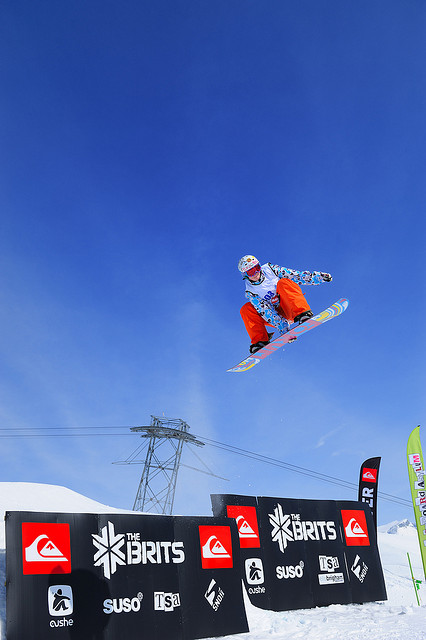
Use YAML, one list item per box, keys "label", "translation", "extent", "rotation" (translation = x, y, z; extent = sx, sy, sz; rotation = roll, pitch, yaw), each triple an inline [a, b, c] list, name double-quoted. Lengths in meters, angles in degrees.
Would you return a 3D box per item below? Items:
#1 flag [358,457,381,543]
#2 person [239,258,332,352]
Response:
- label: "flag"
  translation: [5.165, 6.015, 20.040]
  extent: [0.710, 2.958, 0.031]
  rotation: [4, -30, 19]
- label: "person"
  translation: [1.371, -0.388, 12.344]
  extent: [1.788, 1.079, 0.882]
  rotation: [-42, -38, 7]
